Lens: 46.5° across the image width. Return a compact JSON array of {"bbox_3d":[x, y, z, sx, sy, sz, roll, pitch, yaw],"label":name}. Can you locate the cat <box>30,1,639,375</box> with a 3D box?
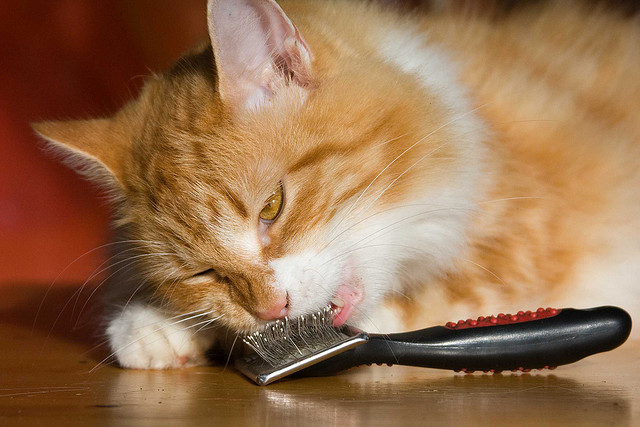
[{"bbox_3d":[0.199,-0.133,2.173,1.581,0.576,1.066,-29,24,-36],"label":"cat"}]
